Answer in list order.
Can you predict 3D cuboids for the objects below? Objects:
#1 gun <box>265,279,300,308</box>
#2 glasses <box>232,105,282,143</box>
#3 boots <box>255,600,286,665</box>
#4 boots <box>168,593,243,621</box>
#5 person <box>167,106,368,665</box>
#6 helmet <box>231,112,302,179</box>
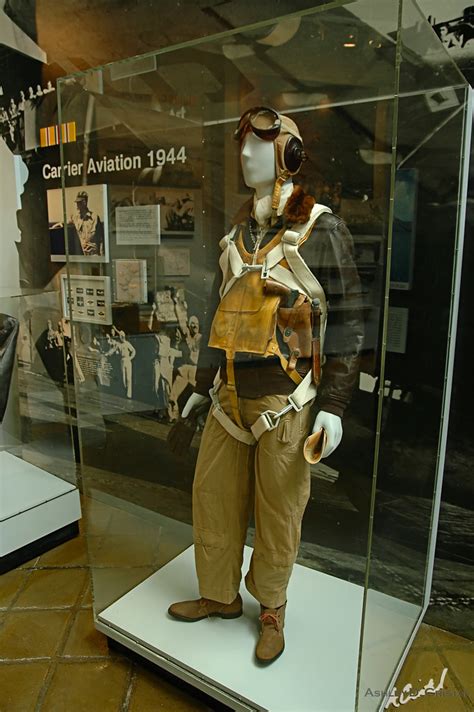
[{"bbox_3d":[0.108,-0.150,1.322,0.077,0.034,0.061,28,3,31],"label":"gun"},{"bbox_3d":[0.047,-0.560,1.307,0.089,0.043,0.096,14,-4,31],"label":"glasses"},{"bbox_3d":[0.100,0.772,1.547,0.057,0.073,0.173,-2,-4,11],"label":"boots"},{"bbox_3d":[-0.100,0.786,1.735,0.238,0.107,0.088,3,2,2],"label":"boots"},{"bbox_3d":[0.084,0.118,1.420,0.229,1.445,0.507,-7,12,-31],"label":"person"},{"bbox_3d":[0.090,-0.539,1.380,0.178,0.149,0.188,-5,20,-36],"label":"helmet"}]
